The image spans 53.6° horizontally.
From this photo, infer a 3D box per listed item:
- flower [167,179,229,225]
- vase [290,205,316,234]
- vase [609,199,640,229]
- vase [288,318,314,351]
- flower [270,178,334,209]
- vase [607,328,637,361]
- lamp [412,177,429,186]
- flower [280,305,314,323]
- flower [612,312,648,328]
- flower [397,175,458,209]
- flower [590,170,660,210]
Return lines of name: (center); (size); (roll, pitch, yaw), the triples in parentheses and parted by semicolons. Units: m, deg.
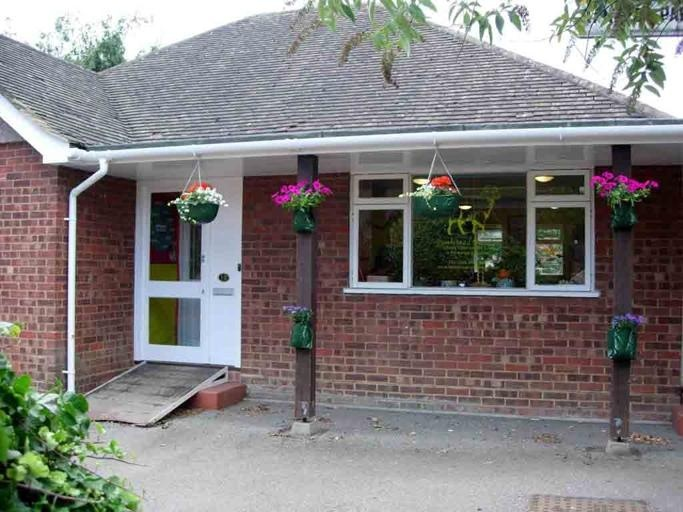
flower: (-1.805, -0.624, 8.598); (0.615, 0.601, 0.624); (1, -2, 5)
vase: (-0.494, -0.433, 8.305); (0.314, 0.466, 0.279); (-1, -1, 39)
vase: (3.064, -0.452, 7.426); (0.295, 0.342, 0.282); (0, -1, -3)
vase: (-0.459, 0.948, 8.051); (0.324, 0.419, 0.306); (2, 0, 28)
flower: (-0.496, -0.716, 8.211); (0.531, 0.276, 0.463); (-5, 3, 40)
vase: (3.053, 0.968, 7.360); (0.318, 0.345, 0.329); (1, -5, 17)
lamp: (1.105, -1.019, 9.378); (0.214, 0.050, 0.209); (2, -3, -40)
flower: (-0.506, 0.698, 8.213); (0.322, 0.193, 0.324); (5, -4, -7)
flower: (3.148, 0.705, 7.407); (0.311, 0.151, 0.141); (1, 9, 1)
flower: (1.235, -0.788, 8.862); (0.566, 0.269, 0.499); (1, 2, 1)
flower: (3.162, -0.747, 7.621); (0.644, 0.379, 0.622); (3, 9, 15)
